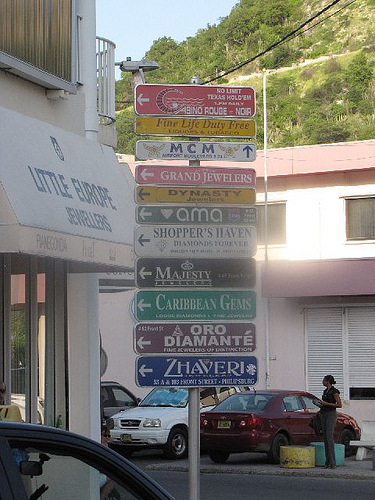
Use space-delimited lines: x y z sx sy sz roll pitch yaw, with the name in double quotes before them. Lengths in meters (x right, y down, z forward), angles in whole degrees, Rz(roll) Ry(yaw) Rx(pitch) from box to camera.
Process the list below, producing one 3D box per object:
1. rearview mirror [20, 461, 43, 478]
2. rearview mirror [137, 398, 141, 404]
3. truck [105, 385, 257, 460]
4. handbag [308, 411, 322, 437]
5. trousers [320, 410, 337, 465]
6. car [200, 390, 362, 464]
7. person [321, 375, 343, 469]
"rearview mirror" -1.034 1.433 8.362 0.107 0.106 0.022 6 8 14
"rearview mirror" -0.960 2.924 24.880 0.071 0.136 0.068 6 -10 -39
"truck" -0.115 3.063 22.770 1.529 1.626 3.142 -8 -11 37
"handbag" 1.999 2.749 20.231 0.096 0.332 0.241 4 13 -2
"trousers" 2.171 2.946 20.062 0.239 0.826 0.290 -1 -2 6
"car" 1.601 2.941 21.617 2.473 0.966 1.184 1 -6 -42
"person" 2.214 2.731 20.106 0.300 1.364 0.661 -1 -2 6
